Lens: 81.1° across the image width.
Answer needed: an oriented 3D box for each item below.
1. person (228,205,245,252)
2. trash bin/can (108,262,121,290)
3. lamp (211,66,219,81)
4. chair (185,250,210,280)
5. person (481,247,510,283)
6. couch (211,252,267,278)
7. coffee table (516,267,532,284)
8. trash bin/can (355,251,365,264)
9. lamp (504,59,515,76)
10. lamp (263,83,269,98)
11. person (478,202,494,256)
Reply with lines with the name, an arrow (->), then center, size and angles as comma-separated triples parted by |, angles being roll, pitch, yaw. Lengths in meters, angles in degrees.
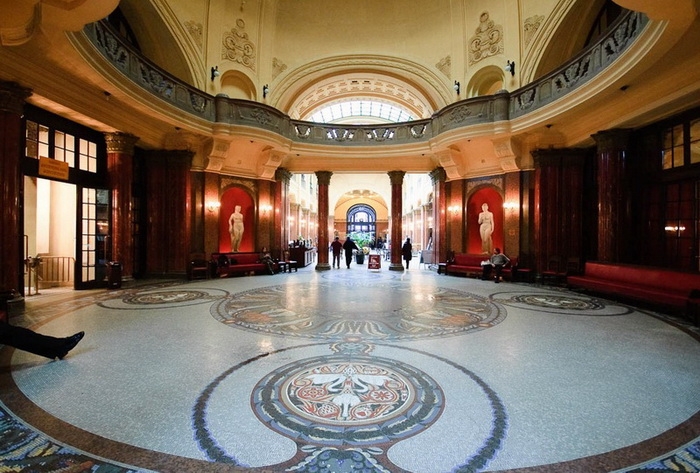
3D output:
person -> -4.272, -0.306, 15.202 | 0.549, 1.719, 0.553 | -1, 3, -16
trash bin/can -> -6.655, 1.091, 11.504 | 0.277, 0.701, 0.272 | 0, 3, -15
lamp -> -4.694, -5.618, 14.105 | 0.241, 0.519, 0.368 | 0, 3, -14
chair -> -5.245, 0.999, 14.009 | 0.857, 1.085, 0.764 | 3, -6, -36
person -> 4.794, 0.935, 13.606 | 0.829, 1.051, 0.791 | -3, 4, -44
couch -> -4.014, 0.999, 14.610 | 1.010, 0.729, 2.377 | 5, 5, 41
coffee table -> 5.672, 1.258, 13.300 | 0.441, 0.428, 0.436 | -3, 5, -38
trash bin/can -> 0.511, 1.063, 20.288 | 0.554, 0.583, 0.545 | 1, 3, 4
lamp -> 5.268, -5.562, 13.494 | 0.288, 0.577, 0.316 | 2, 4, 36
lamp -> -3.281, -5.544, 15.710 | 0.183, 0.523, 0.372 | 1, 3, 9
person -> 4.865, -0.258, 14.598 | 0.504, 1.764, 0.434 | 1, 3, 16
